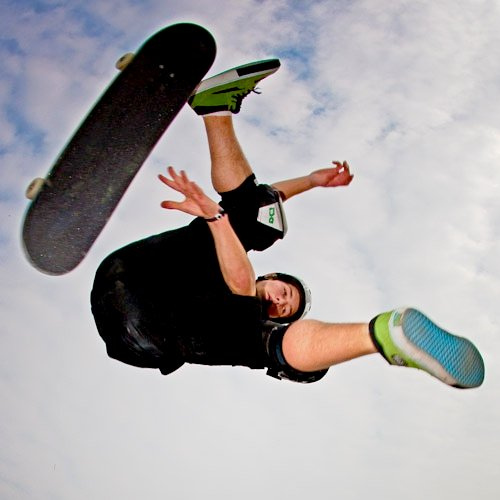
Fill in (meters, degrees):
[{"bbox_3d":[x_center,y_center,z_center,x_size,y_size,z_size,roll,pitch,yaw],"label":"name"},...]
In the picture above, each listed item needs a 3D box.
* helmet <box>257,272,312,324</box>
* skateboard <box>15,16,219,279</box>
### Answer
[{"bbox_3d":[0.182,0.298,4.710,0.304,0.188,0.366,-47,-25,-44],"label":"helmet"},{"bbox_3d":[-0.678,-0.453,4.218,1.821,0.279,0.474,-48,-54,5],"label":"skateboard"}]
